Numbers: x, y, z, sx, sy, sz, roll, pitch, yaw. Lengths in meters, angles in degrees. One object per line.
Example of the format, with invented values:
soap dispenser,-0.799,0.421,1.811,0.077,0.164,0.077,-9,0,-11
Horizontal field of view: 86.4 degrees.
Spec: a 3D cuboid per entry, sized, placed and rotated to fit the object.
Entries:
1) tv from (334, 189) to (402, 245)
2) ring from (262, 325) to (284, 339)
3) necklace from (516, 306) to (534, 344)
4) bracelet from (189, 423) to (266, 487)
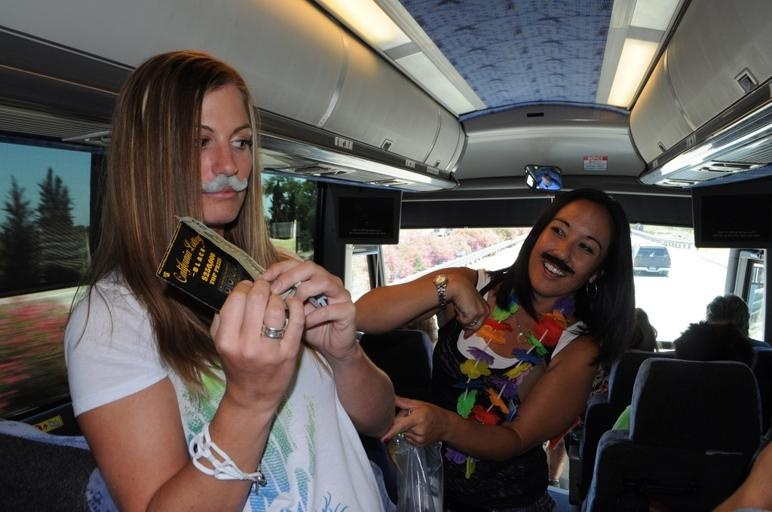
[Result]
tv,-0.241,-0.520,5.318,0.746,0.602,0.096,0,5,1
ring,-0.264,0.178,0.969,0.035,0.013,0.033,7,2,0
necklace,0.800,0.417,2.408,0.036,0.106,0.149,-13,37,17
bracelet,-0.403,0.503,1.026,0.163,0.129,0.068,30,-36,-9
